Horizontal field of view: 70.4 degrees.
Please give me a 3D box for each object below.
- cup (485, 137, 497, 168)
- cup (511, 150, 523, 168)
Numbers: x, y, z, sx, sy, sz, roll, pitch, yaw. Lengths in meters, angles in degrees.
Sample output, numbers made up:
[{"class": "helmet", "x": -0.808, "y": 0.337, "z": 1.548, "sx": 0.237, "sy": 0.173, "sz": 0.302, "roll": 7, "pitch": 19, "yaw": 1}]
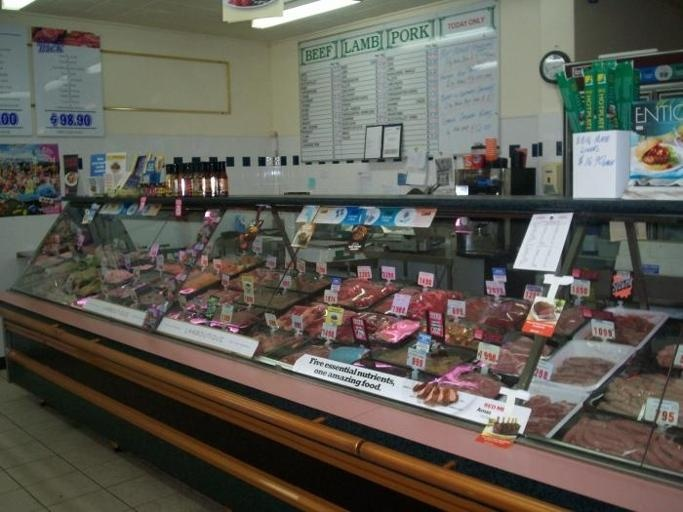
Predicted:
[{"class": "cup", "x": 0.939, "y": -0.658, "z": 3.025, "sx": 0.064, "sy": 0.153, "sz": 0.135, "roll": 1, "pitch": 9, "yaw": 17}, {"class": "cup", "x": 1.569, "y": -0.870, "z": 4.303, "sx": 0.117, "sy": 0.155, "sz": 0.318, "roll": 1, "pitch": 9, "yaw": 17}]
